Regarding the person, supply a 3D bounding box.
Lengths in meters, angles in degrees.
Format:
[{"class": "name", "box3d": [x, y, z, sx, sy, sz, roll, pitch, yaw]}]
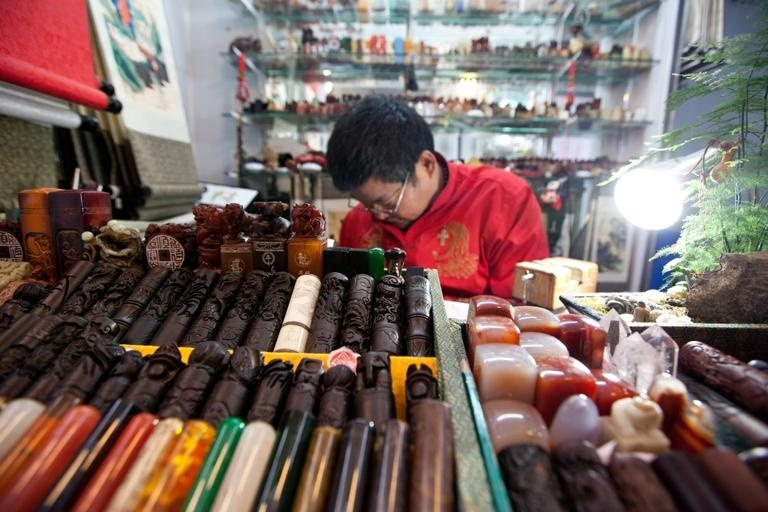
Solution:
[{"class": "person", "box3d": [0.239, -0.287, 2.948, 1.432, 1.326, 0.853, 3, 32, 26]}]

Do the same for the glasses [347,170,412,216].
[{"class": "glasses", "box3d": [0.014, -0.343, 2.605, 0.228, 0.231, 0.065, 19, -15, 42]}]
